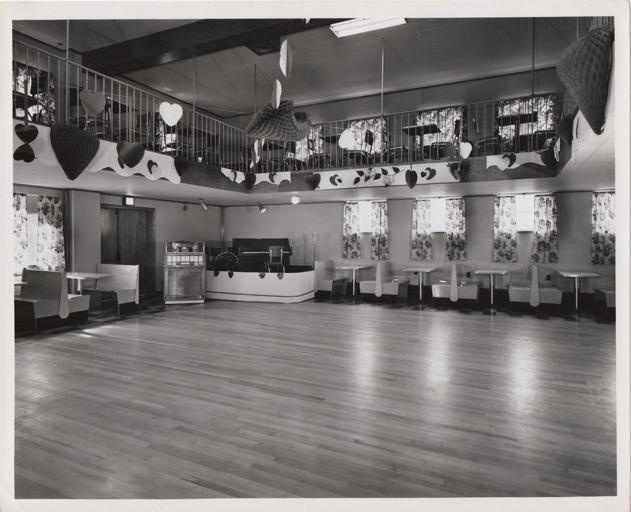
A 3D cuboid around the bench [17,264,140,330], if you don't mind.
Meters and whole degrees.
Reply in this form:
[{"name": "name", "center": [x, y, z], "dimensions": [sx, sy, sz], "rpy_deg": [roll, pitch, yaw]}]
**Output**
[{"name": "bench", "center": [-4.157, 0.657, 8.573], "dimensions": [0.985, 0.927, 1.897], "rpy_deg": [4, 6, 26]}]
